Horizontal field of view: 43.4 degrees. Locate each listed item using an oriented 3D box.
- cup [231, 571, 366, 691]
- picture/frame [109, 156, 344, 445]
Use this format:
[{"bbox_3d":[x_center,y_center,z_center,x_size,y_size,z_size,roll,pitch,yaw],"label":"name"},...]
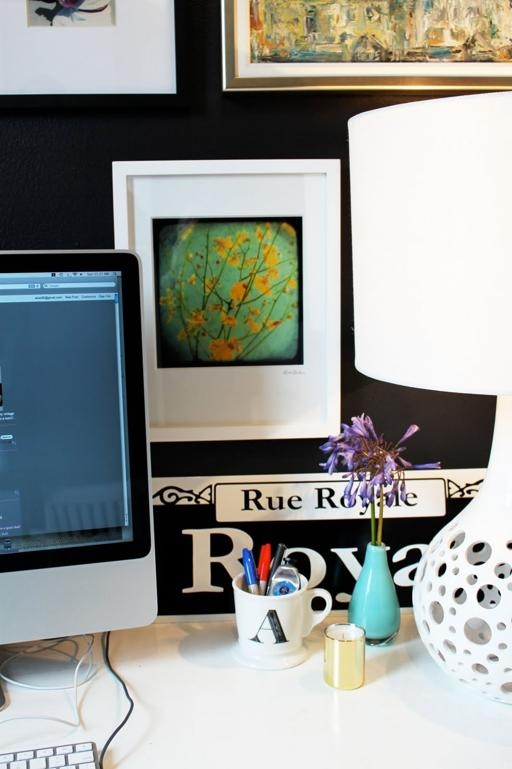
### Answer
[{"bbox_3d":[0.054,0.300,0.795,0.131,0.105,0.092,3,-1,-9],"label":"cup"},{"bbox_3d":[-0.048,-0.132,0.887,0.354,0.482,0.033,-1,5,-8],"label":"picture/frame"}]
